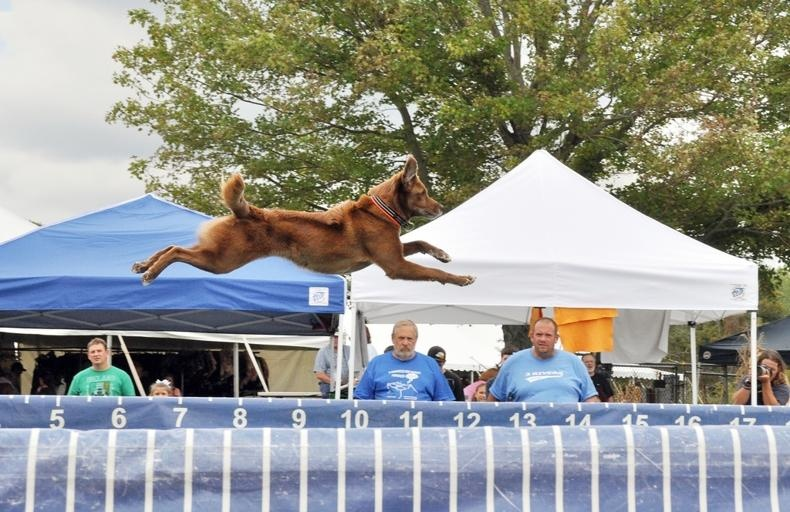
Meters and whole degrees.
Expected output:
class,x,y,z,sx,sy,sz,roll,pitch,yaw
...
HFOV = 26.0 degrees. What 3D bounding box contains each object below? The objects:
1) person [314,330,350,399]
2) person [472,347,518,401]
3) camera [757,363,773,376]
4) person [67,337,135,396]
class,x,y,z,sx,sy,sz,roll,pitch,yaw
person,-1.370,2.428,37.413,0.777,1.450,0.648,6,30,15
person,2.503,2.645,37.096,0.921,1.146,1.128,2,11,-1
camera,7.734,2.345,34.671,0.266,0.219,0.430,-2,-11,11
person,-6.034,2.292,35.016,1.288,1.174,0.429,2,-13,-12
